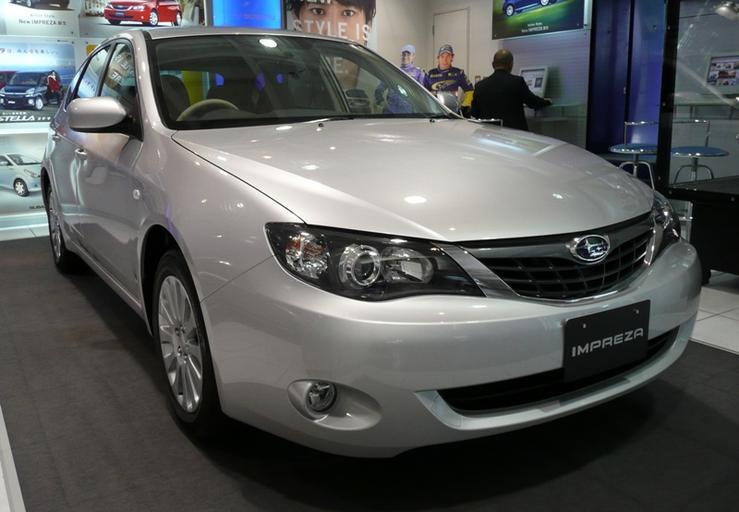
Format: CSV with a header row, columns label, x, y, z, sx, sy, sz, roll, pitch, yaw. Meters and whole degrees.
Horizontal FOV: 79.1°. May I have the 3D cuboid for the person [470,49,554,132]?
label,x,y,z,sx,sy,sz,roll,pitch,yaw
person,1.796,-1.818,5.769,0.962,1.535,0.574,3,37,23

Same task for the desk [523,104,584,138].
label,x,y,z,sx,sy,sz,roll,pitch,yaw
desk,3.182,-2.250,7.649,0.583,0.399,0.333,-26,37,-34

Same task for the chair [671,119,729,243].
label,x,y,z,sx,sy,sz,roll,pitch,yaw
chair,2.363,-0.600,3.267,0.448,0.647,0.440,-7,4,-32

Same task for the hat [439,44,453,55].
label,x,y,z,sx,sy,sz,roll,pitch,yaw
hat,1.480,-3.976,8.663,0.218,0.133,0.361,4,17,9
